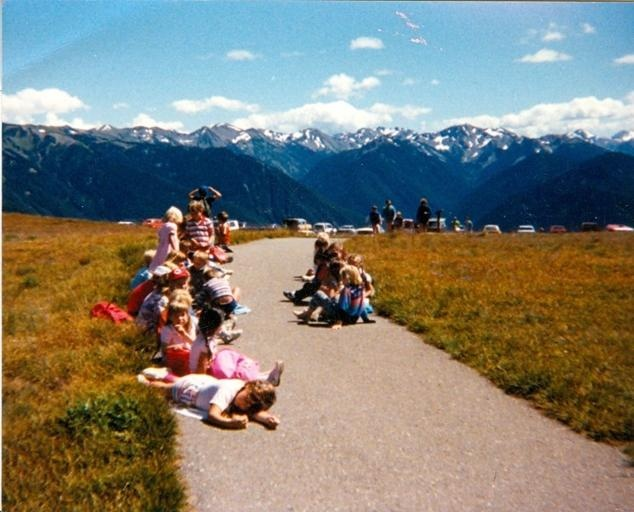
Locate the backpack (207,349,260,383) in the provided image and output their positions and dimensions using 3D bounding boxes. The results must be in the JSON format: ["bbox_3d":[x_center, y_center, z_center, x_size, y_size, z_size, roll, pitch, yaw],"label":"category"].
[{"bbox_3d":[-1.442,1.914,9.165,0.637,0.270,0.539,15,18,-4],"label":"backpack"}]

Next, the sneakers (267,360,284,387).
[{"bbox_3d":[-0.739,2.096,9.328,0.231,0.551,0.217,18,30,7],"label":"sneakers"}]
